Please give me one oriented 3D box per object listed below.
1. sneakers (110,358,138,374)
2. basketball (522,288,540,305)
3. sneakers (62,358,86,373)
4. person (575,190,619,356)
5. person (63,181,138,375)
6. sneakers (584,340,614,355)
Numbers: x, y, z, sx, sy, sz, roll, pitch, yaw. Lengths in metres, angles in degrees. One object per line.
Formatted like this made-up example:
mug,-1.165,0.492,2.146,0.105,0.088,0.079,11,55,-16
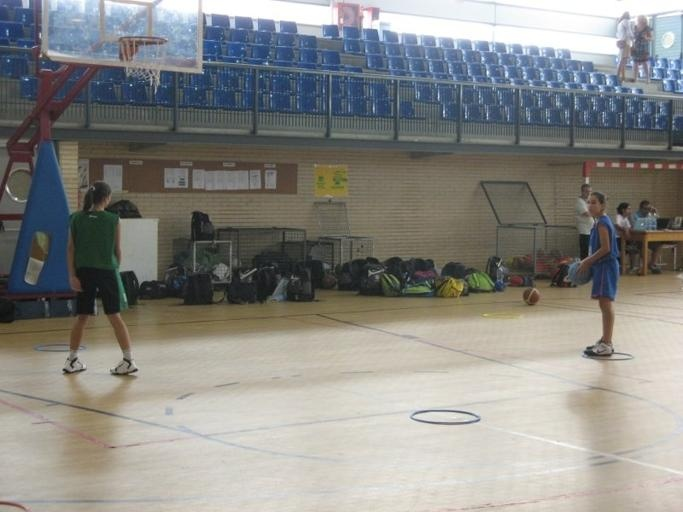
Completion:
sneakers,-2.536,1.295,9.894,0.388,0.239,0.139,2,1,5
basketball,3.525,0.724,15.418,0.273,0.302,0.287,8,34,23
sneakers,-3.151,1.285,9.923,0.112,0.155,0.321,4,6,43
person,3.399,0.220,10.986,0.473,2.091,0.686,2,7,17
person,-2.872,0.249,9.885,0.884,2.217,0.640,-1,7,-7
sneakers,3.365,1.205,10.859,0.221,0.125,0.251,3,-2,9
